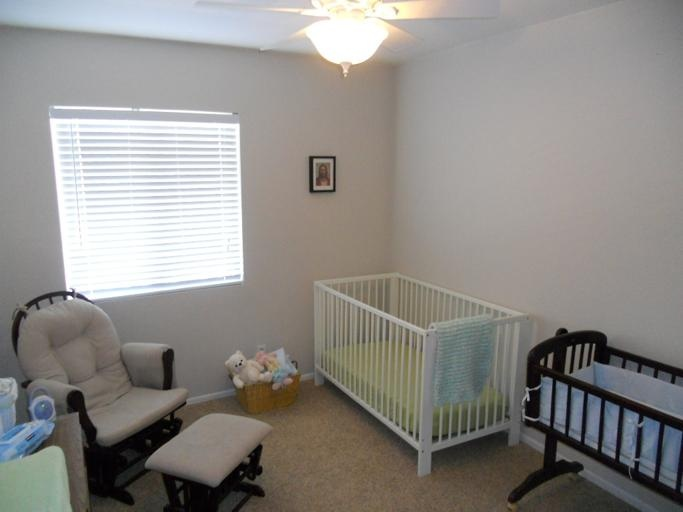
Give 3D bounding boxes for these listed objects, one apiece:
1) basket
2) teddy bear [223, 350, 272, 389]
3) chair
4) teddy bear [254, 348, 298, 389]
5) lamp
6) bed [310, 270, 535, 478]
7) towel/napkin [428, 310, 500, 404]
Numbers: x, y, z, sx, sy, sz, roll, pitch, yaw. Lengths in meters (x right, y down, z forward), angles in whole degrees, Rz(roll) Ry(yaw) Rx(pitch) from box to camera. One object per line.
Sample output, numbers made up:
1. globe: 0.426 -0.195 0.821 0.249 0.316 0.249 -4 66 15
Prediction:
1. basket: -0.636 0.986 4.158 0.422 0.247 0.291 -5 8 -30
2. teddy bear: -0.729 0.889 4.070 0.357 0.254 0.214 -4 11 0
3. chair: -1.623 0.843 3.946 1.225 1.595 1.133 9 15 28
4. teddy bear: -0.518 0.881 4.117 0.274 0.207 0.316 9 10 -15
5. lamp: 0.020 -1.010 2.454 0.372 0.220 0.232 0 12 18
6. bed: 0.515 0.644 4.110 1.001 1.086 1.636 -7 20 -24
7. towel/napkin: 0.781 0.674 3.339 0.447 0.592 0.166 -4 5 -19
